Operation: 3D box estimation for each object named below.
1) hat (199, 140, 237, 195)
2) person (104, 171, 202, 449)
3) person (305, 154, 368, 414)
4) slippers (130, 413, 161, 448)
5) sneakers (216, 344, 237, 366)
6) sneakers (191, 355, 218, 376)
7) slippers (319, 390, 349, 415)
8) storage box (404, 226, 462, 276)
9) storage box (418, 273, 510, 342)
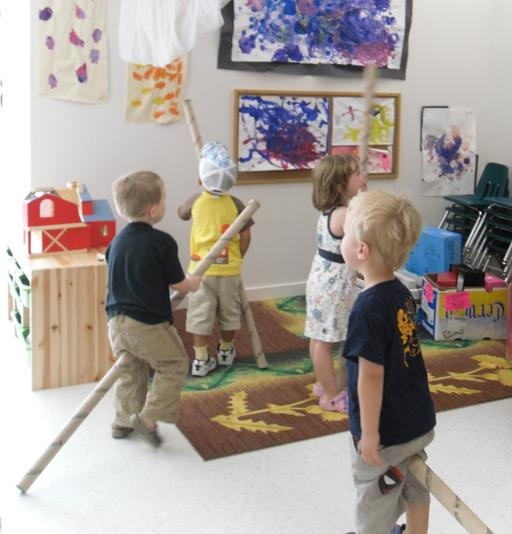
[{"bbox_3d":[-0.193,-0.481,2.556,0.170,0.258,0.144,-1,-1,-5],"label":"hat"},{"bbox_3d":[-0.402,0.187,1.968,0.338,1.080,0.327,-4,14,-17],"label":"person"},{"bbox_3d":[0.423,0.089,2.279,0.394,1.133,0.371,-1,16,9],"label":"person"},{"bbox_3d":[-0.436,0.662,2.074,0.085,0.203,0.067,-23,40,9],"label":"slippers"},{"bbox_3d":[-0.171,0.495,2.827,0.061,0.067,0.149,1,8,1],"label":"sneakers"},{"bbox_3d":[-0.274,0.531,2.763,0.060,0.066,0.156,5,9,21],"label":"sneakers"},{"bbox_3d":[0.356,0.614,2.306,0.133,0.054,0.076,-3,6,16],"label":"slippers"},{"bbox_3d":[1.178,-0.085,3.394,0.109,0.280,0.330,-4,14,-29],"label":"storage box"},{"bbox_3d":[1.314,0.230,3.277,0.425,0.307,0.419,-1,9,-4],"label":"storage box"}]
